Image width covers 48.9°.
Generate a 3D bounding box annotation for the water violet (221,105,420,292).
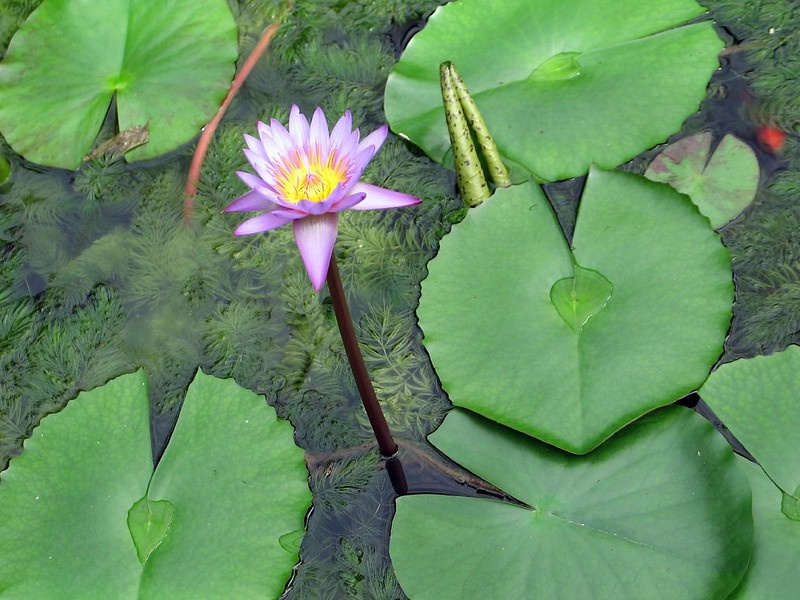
[{"bbox_3d":[-0.200,-0.272,2.053,0.431,0.166,0.511,-20,38,-10],"label":"water violet"}]
